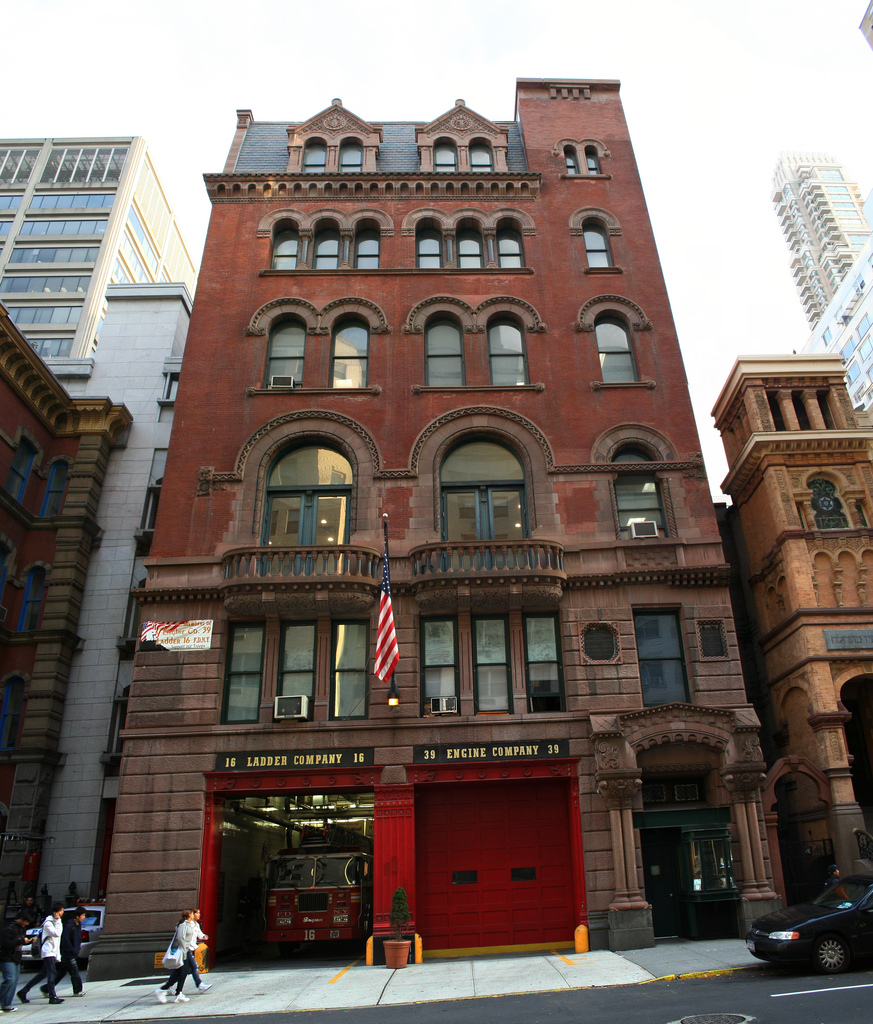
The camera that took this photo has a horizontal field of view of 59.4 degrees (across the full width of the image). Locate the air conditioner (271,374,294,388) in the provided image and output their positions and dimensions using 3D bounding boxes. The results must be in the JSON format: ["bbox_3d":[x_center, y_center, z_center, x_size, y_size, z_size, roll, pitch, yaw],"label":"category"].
[{"bbox_3d":[-4.707,-3.956,23.241,0.772,0.447,0.371,0,-26,-1],"label":"air conditioner"}]

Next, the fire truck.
[{"bbox_3d":[-3.210,10.573,21.363,2.664,3.070,4.724,1,-27,-6],"label":"fire truck"}]

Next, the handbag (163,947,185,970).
[{"bbox_3d":[-4.680,7.999,13.660,0.309,0.336,0.614,6,-27,-15],"label":"handbag"}]
